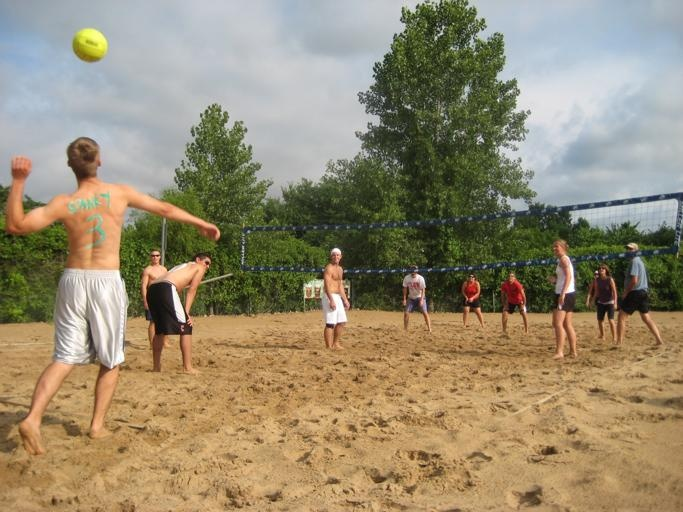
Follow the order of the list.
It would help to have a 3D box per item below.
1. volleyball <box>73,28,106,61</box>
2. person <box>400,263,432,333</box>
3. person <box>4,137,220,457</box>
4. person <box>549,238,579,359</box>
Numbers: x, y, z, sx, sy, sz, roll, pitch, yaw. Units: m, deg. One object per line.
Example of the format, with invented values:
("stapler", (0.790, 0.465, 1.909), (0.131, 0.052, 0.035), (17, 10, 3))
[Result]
("volleyball", (-2.286, -1.917, 6.038), (0.266, 0.286, 0.149), (-5, 11, -31))
("person", (1.475, 0.860, 12.896), (0.536, 1.470, 1.302), (2, 10, 6))
("person", (-2.113, 0.314, 5.623), (0.828, 2.581, 1.307), (8, 12, 38))
("person", (3.033, 0.614, 8.977), (0.390, 1.623, 0.533), (4, 10, 20))
